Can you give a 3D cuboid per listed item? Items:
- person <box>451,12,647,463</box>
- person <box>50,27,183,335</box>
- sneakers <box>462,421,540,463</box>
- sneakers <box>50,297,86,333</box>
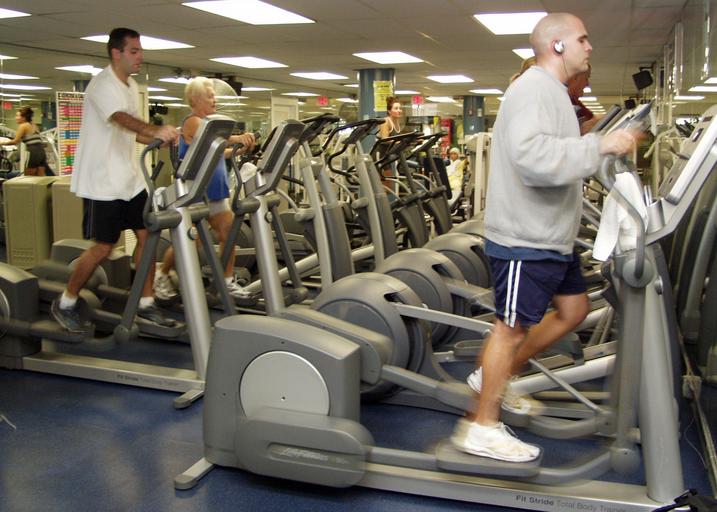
[{"bbox_3d":[0.723,-0.086,2.211,0.595,1.731,0.560,3,14,10],"label":"person"},{"bbox_3d":[-1.617,-0.472,3.396,0.676,1.859,0.704,-6,15,-24],"label":"person"},{"bbox_3d":[0.549,0.739,2.253,0.342,0.140,0.130,6,1,4],"label":"sneakers"},{"bbox_3d":[-1.828,0.366,3.442,0.248,0.195,0.124,26,-7,-30],"label":"sneakers"}]
